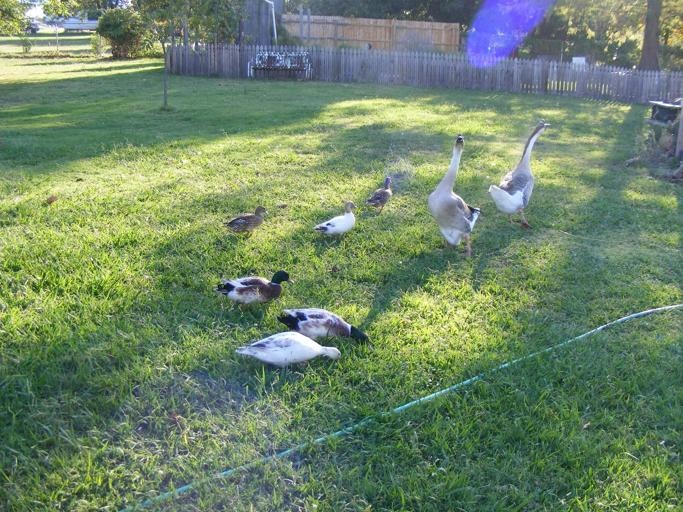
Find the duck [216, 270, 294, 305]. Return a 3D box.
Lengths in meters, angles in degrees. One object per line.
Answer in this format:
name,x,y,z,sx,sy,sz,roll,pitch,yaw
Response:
duck,-1.230,0.480,9.381,1.066,0.413,0.347,-8,20,-20

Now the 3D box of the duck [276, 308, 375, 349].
duck,-0.231,1.001,9.104,0.854,0.564,1.245,3,23,-39

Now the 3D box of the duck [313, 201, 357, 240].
duck,-0.100,-0.667,11.306,0.699,0.676,0.448,-10,33,-13

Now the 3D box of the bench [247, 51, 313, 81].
bench,-2.849,-9.100,31.242,2.900,1.308,0.521,-1,17,-1

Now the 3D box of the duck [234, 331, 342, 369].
duck,-0.673,1.221,8.525,1.315,0.407,0.240,-7,18,-16

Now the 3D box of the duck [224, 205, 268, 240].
duck,-1.608,-0.623,11.195,0.633,0.553,0.386,3,19,-24

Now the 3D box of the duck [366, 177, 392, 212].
duck,0.717,-1.186,12.451,0.444,0.495,0.884,2,20,7
